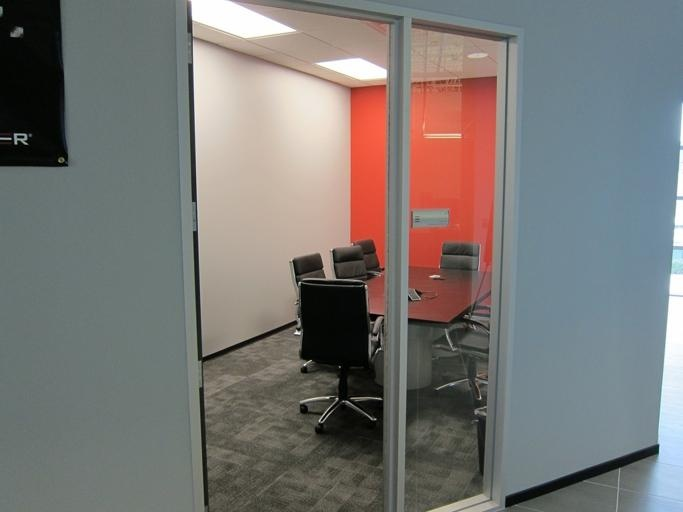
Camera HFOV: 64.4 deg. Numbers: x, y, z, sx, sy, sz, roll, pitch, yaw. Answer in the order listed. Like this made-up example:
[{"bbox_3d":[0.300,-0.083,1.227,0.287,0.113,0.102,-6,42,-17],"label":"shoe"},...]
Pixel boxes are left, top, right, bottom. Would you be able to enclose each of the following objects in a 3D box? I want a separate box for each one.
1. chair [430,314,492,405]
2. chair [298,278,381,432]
[{"bbox_3d":[0.655,0.587,3.399,0.387,0.645,0.428,1,7,-1],"label":"chair"},{"bbox_3d":[-0.020,0.681,4.107,0.595,1.144,0.605,-1,11,-6],"label":"chair"}]
